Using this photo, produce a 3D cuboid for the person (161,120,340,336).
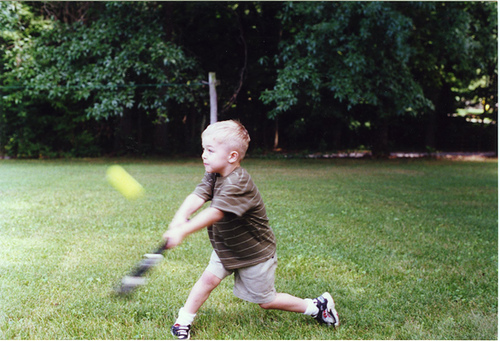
[{"bbox_3d":[-0.066,0.540,4.161,1.432,1.968,0.402,1,3,-15],"label":"person"}]
